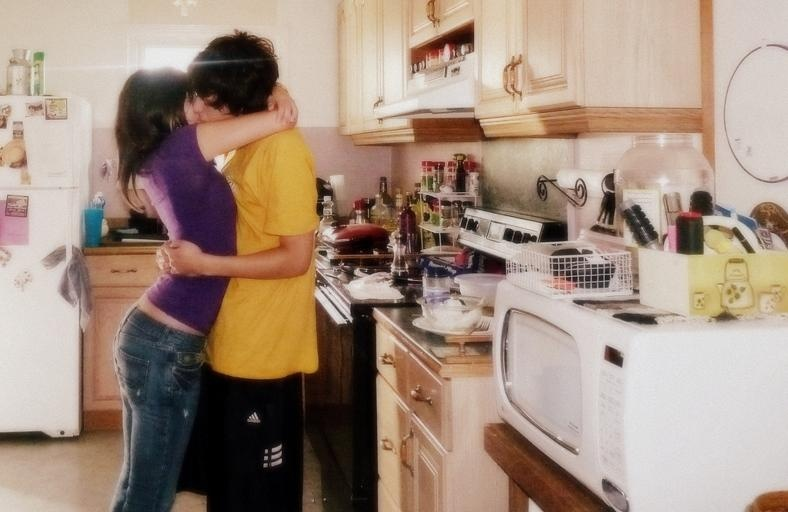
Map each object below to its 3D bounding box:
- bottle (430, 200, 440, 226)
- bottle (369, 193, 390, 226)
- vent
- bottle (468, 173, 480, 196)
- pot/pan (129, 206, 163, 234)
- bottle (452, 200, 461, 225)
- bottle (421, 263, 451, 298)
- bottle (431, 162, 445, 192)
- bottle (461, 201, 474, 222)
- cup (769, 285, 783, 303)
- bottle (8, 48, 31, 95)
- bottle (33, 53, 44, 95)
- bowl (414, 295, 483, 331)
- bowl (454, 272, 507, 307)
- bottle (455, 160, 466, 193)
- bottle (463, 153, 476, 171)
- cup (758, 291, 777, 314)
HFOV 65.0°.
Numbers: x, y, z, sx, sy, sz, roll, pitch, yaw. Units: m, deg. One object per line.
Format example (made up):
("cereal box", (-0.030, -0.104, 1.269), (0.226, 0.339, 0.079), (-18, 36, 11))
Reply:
("bottle", (0.260, -0.258, 3.629), (0.045, 0.120, 0.091), (-6, 8, -31))
("bottle", (-0.105, -0.336, 4.355), (0.123, 0.210, 0.231), (-4, 8, -13))
("vent", (0.165, -0.781, 2.875), (0.344, 0.238, 0.602), (-4, 9, -9))
("bottle", (0.441, -0.400, 3.406), (0.069, 0.134, 0.054), (-2, 8, 7))
("pot/pan", (-1.767, -0.238, 4.403), (0.243, 0.185, 0.227), (11, -1, -6))
("bottle", (0.358, -0.248, 3.473), (0.052, 0.135, 0.059), (-2, 8, 4))
("bottle", (0.144, 0.089, 2.383), (0.120, 0.119, 0.117), (5, 10, 22))
("bottle", (0.261, -0.473, 3.660), (0.079, 0.169, 0.158), (-2, 8, 4))
("bottle", (0.398, -0.253, 3.378), (0.096, 0.121, 0.128), (0, 0, 8))
("cup", (0.852, 0.080, 1.375), (0.040, 0.038, 0.025), (0, 0, 2))
("bottle", (-2.343, -1.149, 3.856), (0.144, 0.306, 0.227), (-7, 9, -29))
("bottle", (-2.267, -1.162, 3.939), (0.080, 0.275, 0.159), (-6, 9, -27))
("bowl", (0.230, 0.196, 2.125), (0.171, 0.077, 0.168), (-2, 7, 0))
("bowl", (0.316, 0.118, 2.338), (0.136, 0.054, 0.136), (-1, 4, 0))
("bottle", (0.372, -0.451, 3.475), (0.061, 0.180, 0.043), (-2, 7, 4))
("bottle", (0.429, -0.526, 3.477), (0.071, 0.094, 0.178), (-2, 8, 4))
("cup", (0.822, 0.102, 1.364), (0.044, 0.041, 0.041), (-1, 3, 0))
